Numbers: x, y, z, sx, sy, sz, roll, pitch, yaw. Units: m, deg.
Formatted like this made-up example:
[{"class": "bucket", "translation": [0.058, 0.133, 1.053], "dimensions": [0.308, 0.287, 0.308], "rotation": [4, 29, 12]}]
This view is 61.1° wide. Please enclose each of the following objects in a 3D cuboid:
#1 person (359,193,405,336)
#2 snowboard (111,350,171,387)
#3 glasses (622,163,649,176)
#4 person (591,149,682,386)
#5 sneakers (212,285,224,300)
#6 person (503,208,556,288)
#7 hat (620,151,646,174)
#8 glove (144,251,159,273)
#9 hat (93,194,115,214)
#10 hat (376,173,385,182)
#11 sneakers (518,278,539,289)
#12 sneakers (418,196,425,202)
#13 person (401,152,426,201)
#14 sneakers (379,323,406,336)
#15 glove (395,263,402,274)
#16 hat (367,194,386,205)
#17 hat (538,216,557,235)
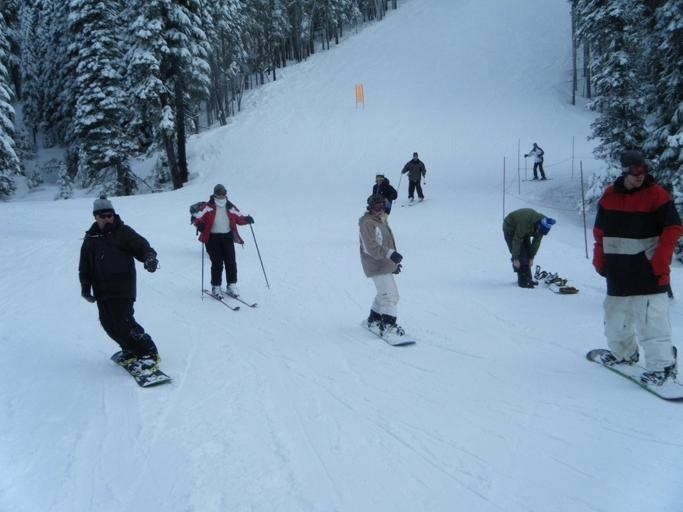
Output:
[{"class": "person", "translation": [0.717, 0.225, 10.251], "dimensions": [0.810, 2.502, 0.652], "rotation": [1, 14, 13]}, {"class": "snowboard", "translation": [-3.118, 1.757, 8.940], "dimensions": [1.030, 0.364, 0.402], "rotation": [6, 17, 28]}, {"class": "glasses", "translation": [4.228, -1.238, 8.390], "dimensions": [0.160, 0.103, 0.248], "rotation": [-4, 13, 6]}, {"class": "person", "translation": [4.325, 0.144, 8.454], "dimensions": [1.264, 3.293, 0.692], "rotation": [8, 16, 35]}, {"class": "sneakers", "translation": [-2.547, 0.763, 12.041], "dimensions": [0.128, 0.205, 0.391], "rotation": [-7, 19, -33]}, {"class": "person", "translation": [3.995, -0.140, 12.384], "dimensions": [0.713, 1.816, 1.182], "rotation": [-13, 19, -28]}, {"class": "hat", "translation": [4.237, -1.369, 8.379], "dimensions": [0.340, 0.353, 0.247], "rotation": [2, 15, 16]}, {"class": "glove", "translation": [-2.850, 0.102, 8.803], "dimensions": [0.216, 0.369, 0.144], "rotation": [2, -3, 16]}, {"class": "hat", "translation": [-3.700, -0.817, 9.013], "dimensions": [0.283, 0.355, 0.288], "rotation": [1, 5, 10]}, {"class": "hat", "translation": [1.117, -2.269, 16.831], "dimensions": [0.158, 0.190, 0.223], "rotation": [-4, -1, -6]}, {"class": "sneakers", "translation": [3.998, 0.577, 12.517], "dimensions": [0.282, 0.122, 0.251], "rotation": [21, 50, 24]}, {"class": "sneakers", "translation": [2.926, -2.099, 21.349], "dimensions": [0.174, 0.242, 0.125], "rotation": [3, 11, 31]}, {"class": "person", "translation": [2.616, -2.830, 21.005], "dimensions": [0.691, 1.861, 0.490], "rotation": [-2, -18, 10]}, {"class": "sneakers", "translation": [0.919, 1.300, 10.336], "dimensions": [0.469, 0.257, 0.198], "rotation": [1, 3, 12]}, {"class": "glove", "translation": [1.062, 0.241, 10.835], "dimensions": [0.056, 0.289, 0.172], "rotation": [10, -9, -41]}, {"class": "hat", "translation": [0.600, -0.974, 10.245], "dimensions": [0.214, 0.272, 0.245], "rotation": [-13, 2, -34]}, {"class": "hat", "translation": [4.307, -0.666, 12.244], "dimensions": [0.308, 0.405, 0.955], "rotation": [3, 17, 20]}]
